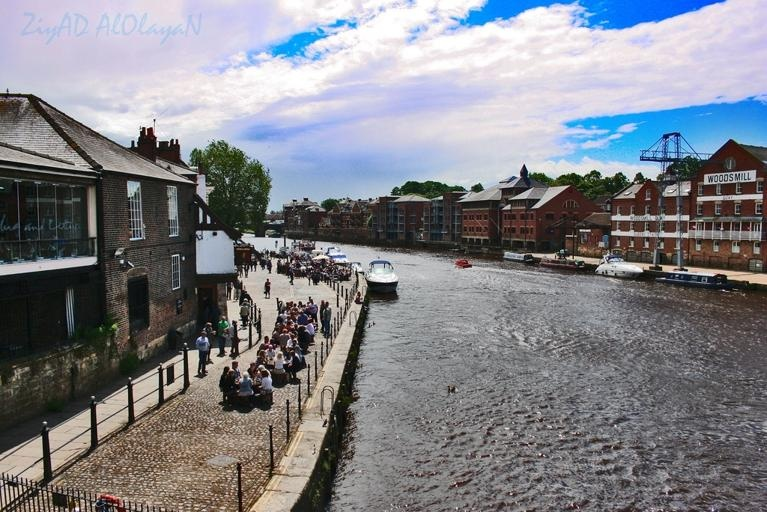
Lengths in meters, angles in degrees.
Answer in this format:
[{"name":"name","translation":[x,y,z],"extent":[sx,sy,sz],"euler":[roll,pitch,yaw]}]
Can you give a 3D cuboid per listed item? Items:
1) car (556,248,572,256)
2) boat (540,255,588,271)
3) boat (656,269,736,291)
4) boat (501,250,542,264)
[{"name":"car","translation":[27.176,-0.211,86.555],"extent":[1.783,0.850,2.459],"euler":[4,9,20]},{"name":"boat","translation":[24.938,1.253,80.309],"extent":[2.045,1.601,7.072],"euler":[3,1,-34]},{"name":"boat","translation":[32.509,2.594,60.023],"extent":[1.936,1.435,6.631],"euler":[-2,1,-28]},{"name":"boat","translation":[21.949,0.535,90.826],"extent":[1.980,1.146,5.895],"euler":[1,4,-18]}]
